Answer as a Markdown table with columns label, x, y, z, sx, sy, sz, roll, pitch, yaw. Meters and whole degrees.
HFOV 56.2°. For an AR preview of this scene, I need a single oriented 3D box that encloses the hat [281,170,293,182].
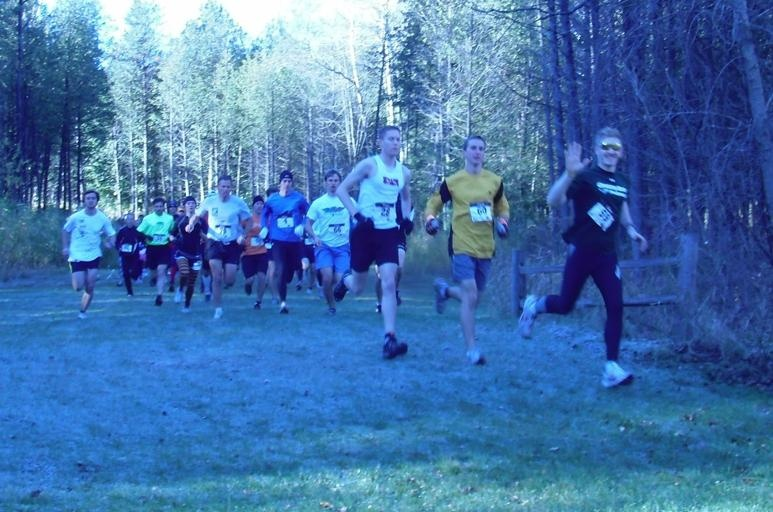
| label | x | y | z | sx | sy | sz | roll | pitch | yaw |
| --- | --- | --- | --- | --- | --- | --- | --- | --- | --- |
| hat | -1.949 | -1.578 | 14.096 | 0.175 | 0.225 | 0.240 | 3 | -11 | -10 |

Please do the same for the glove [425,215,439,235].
| label | x | y | z | sx | sy | sz | roll | pitch | yaw |
| --- | --- | --- | --- | --- | --- | --- | --- | --- | --- |
| glove | 0.555 | -0.367 | 8.806 | 0.155 | 0.227 | 0.094 | -18 | -31 | 0 |

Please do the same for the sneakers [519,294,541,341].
| label | x | y | z | sx | sy | sz | roll | pitch | yaw |
| --- | --- | --- | --- | --- | --- | --- | --- | --- | --- |
| sneakers | 1.774 | 0.729 | 9.010 | 0.256 | 0.642 | 0.214 | 3 | 23 | 4 |

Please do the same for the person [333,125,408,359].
| label | x | y | z | sx | sy | sz | roll | pitch | yaw |
| --- | --- | --- | --- | --- | --- | --- | --- | --- | --- |
| person | -0.164 | -0.203 | 9.707 | 0.961 | 3.030 | 1.395 | -1 | 7 | -3 |

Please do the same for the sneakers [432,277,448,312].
| label | x | y | z | sx | sy | sz | roll | pitch | yaw |
| --- | --- | --- | --- | --- | --- | --- | --- | --- | --- |
| sneakers | 0.720 | 0.566 | 9.849 | 0.166 | 0.513 | 0.225 | 0 | 16 | -1 |

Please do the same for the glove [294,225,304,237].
| label | x | y | z | sx | sy | sz | roll | pitch | yaw |
| --- | --- | --- | --- | --- | --- | --- | --- | --- | --- |
| glove | -1.652 | -0.472 | 13.730 | 0.144 | 0.218 | 0.075 | 17 | 14 | 20 |

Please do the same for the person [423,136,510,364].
| label | x | y | z | sx | sy | sz | roll | pitch | yaw |
| --- | --- | --- | --- | --- | --- | --- | --- | --- | --- |
| person | 1.018 | -0.078 | 9.160 | 1.010 | 2.828 | 0.962 | 0 | 7 | 9 |

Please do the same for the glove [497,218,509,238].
| label | x | y | z | sx | sy | sz | roll | pitch | yaw |
| --- | --- | --- | --- | --- | --- | --- | --- | --- | --- |
| glove | 1.419 | -0.332 | 8.865 | 0.134 | 0.233 | 0.270 | 0 | 8 | 6 |

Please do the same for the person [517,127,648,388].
| label | x | y | z | sx | sy | sz | roll | pitch | yaw |
| --- | --- | --- | --- | --- | --- | --- | --- | --- | --- |
| person | 2.300 | 0.002 | 8.222 | 1.211 | 2.861 | 0.721 | 2 | 7 | 21 |

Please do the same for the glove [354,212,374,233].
| label | x | y | z | sx | sy | sz | roll | pitch | yaw |
| --- | --- | --- | --- | --- | --- | --- | --- | --- | --- |
| glove | -0.290 | -0.448 | 9.270 | 0.252 | 0.247 | 0.252 | -1 | 8 | -4 |
